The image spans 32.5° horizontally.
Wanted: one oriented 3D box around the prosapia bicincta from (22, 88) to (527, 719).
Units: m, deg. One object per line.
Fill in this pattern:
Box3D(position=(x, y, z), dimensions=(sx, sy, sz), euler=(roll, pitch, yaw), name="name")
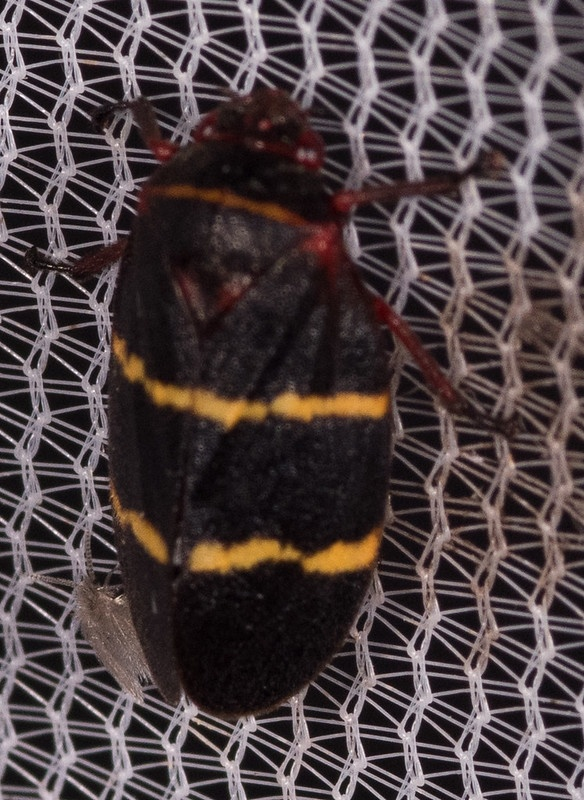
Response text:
Box3D(position=(-0.056, 0.004, 1.664), dimensions=(0.816, 0.292, 0.903), euler=(-1, 97, 6), name="prosapia bicincta")
